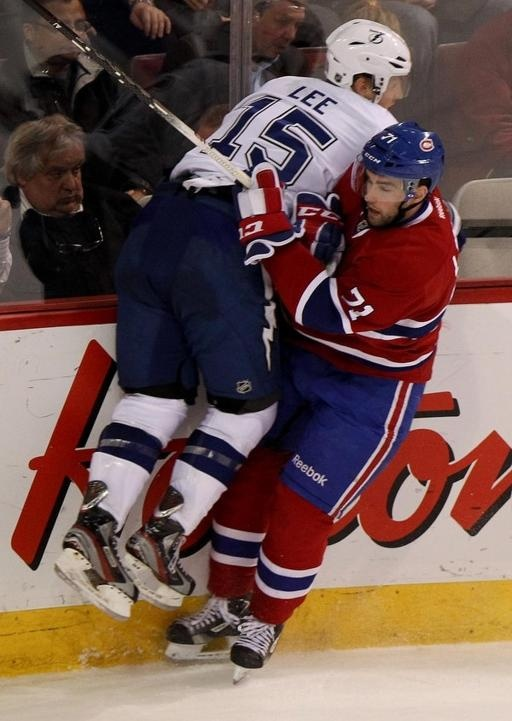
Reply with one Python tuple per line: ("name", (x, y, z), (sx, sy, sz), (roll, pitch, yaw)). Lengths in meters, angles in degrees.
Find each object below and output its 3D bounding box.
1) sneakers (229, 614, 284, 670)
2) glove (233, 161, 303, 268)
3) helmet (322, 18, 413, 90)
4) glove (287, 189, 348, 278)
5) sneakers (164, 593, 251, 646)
("sneakers", (0.007, 0.766, 1.885), (0.079, 0.085, 0.223), (29, 12, 2))
("glove", (0.017, -0.332, 1.558), (0.196, 0.085, 0.192), (-11, 84, -10))
("helmet", (0.274, -0.780, 1.760), (0.239, 0.167, 0.161), (17, 26, -1))
("glove", (0.146, -0.301, 1.588), (0.078, 0.150, 0.189), (-9, 49, 44))
("sneakers", (-0.189, 0.767, 1.995), (0.321, 0.118, 0.096), (-10, 55, -21))
